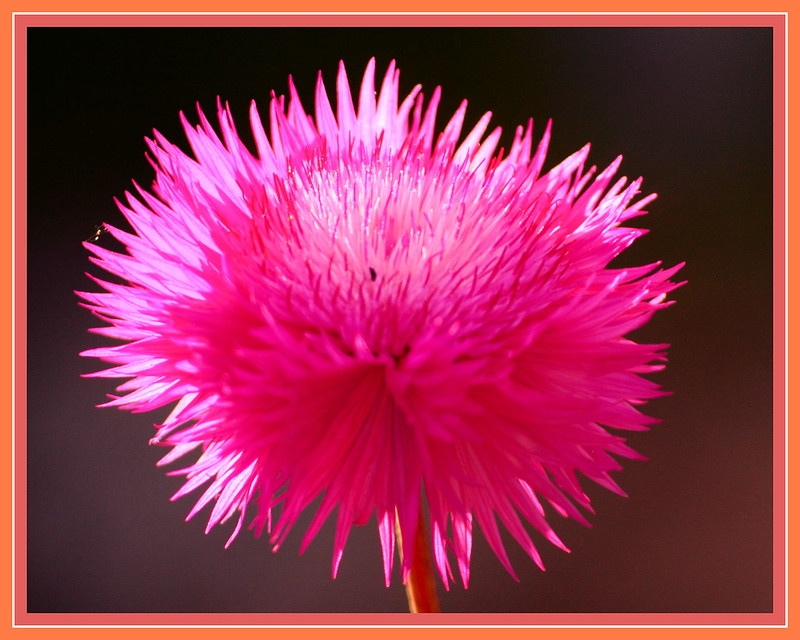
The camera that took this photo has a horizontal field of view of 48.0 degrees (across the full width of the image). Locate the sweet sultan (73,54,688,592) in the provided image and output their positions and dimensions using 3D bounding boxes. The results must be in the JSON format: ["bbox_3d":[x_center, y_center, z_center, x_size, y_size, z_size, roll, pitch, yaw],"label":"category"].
[{"bbox_3d":[-0.019,-0.043,1.117,0.682,0.684,0.360,-11,108,-31],"label":"sweet sultan"}]
